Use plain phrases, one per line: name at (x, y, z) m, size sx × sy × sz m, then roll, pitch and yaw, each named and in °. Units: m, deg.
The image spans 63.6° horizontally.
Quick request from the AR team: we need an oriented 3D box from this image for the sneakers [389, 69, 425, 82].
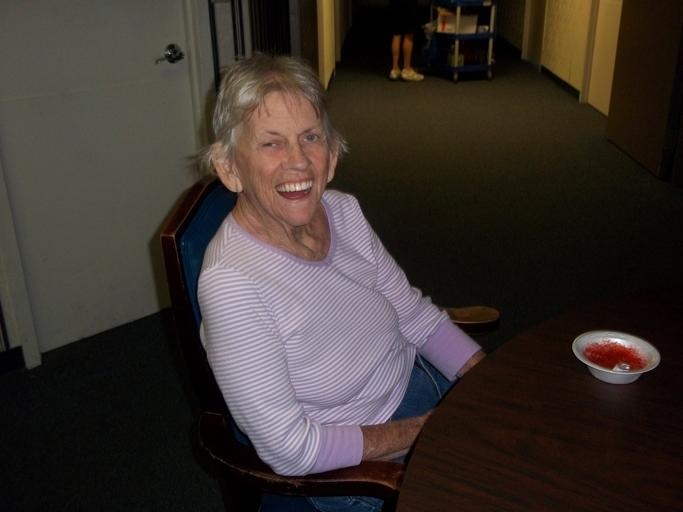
sneakers at (0.993, -2.830, 8.618) m, size 0.549 × 0.246 × 0.223 m, roll -1°, pitch 28°, yaw -7°
